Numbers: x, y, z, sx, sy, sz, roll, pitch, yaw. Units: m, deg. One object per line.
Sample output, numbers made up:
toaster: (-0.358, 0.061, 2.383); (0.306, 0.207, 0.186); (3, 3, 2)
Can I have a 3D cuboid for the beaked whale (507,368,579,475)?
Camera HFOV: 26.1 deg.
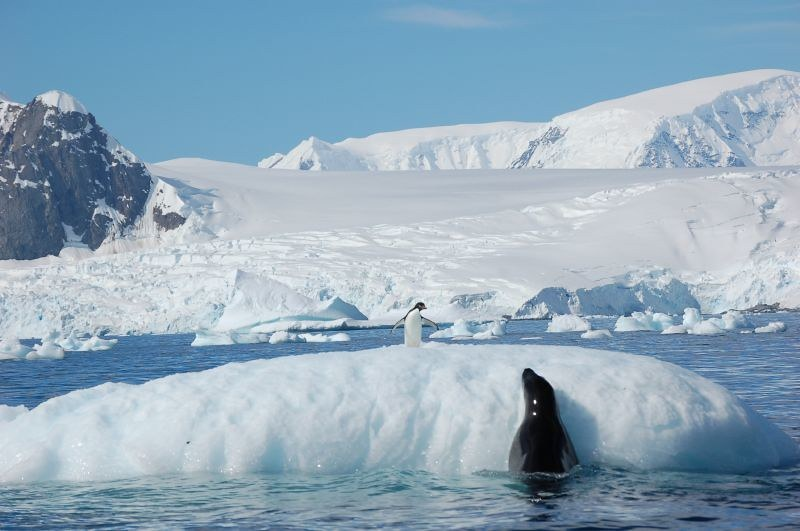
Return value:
beaked whale: (16.188, 17.691, 194.308); (5.960, 11.508, 4.736); (-2, -2, 1)
